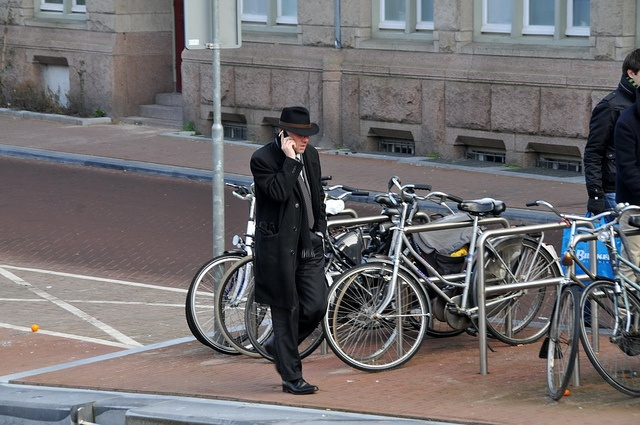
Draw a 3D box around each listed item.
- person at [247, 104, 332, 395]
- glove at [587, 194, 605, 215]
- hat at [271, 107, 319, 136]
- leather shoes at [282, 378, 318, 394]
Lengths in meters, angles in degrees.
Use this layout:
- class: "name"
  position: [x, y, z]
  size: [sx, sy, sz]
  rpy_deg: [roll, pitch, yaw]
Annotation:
- class: "person"
  position: [-0.265, 0.325, 9.501]
  size: [0.673, 2.512, 0.573]
  rpy_deg: [-3, 8, -9]
- class: "glove"
  position: [2.738, -0.078, 10.624]
  size: [0.218, 0.185, 0.157]
  rpy_deg: [-5, -3, 32]
- class: "hat"
  position: [-0.212, -0.812, 9.393]
  size: [0.327, 0.111, 0.272]
  rpy_deg: [11, 15, 26]
- class: "leather shoes"
  position: [-0.195, 1.539, 9.481]
  size: [0.329, 0.123, 0.117]
  rpy_deg: [-3, -3, 26]
